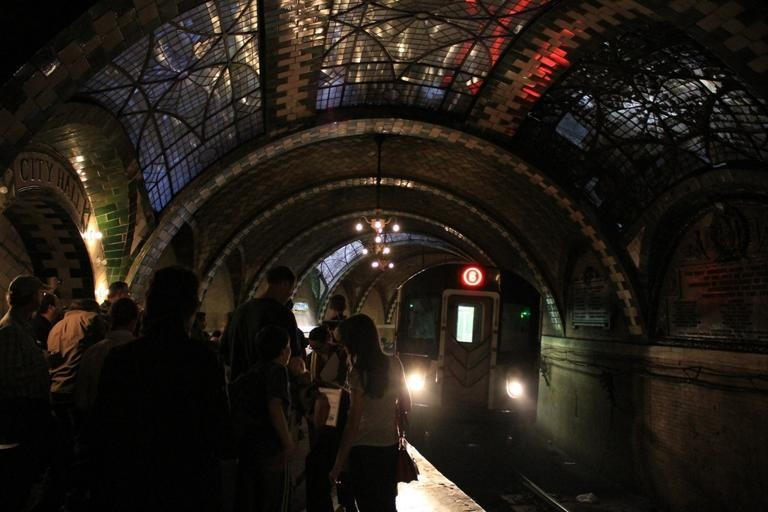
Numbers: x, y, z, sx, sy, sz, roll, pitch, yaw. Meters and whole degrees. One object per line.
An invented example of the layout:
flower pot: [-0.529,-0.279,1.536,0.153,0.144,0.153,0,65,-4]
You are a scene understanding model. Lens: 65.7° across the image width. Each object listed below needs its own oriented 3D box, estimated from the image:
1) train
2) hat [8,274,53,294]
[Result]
train: [1.057,2.152,14.821,3.369,3.694,5.901,6,-6,-15]
hat: [-4.511,0.350,7.499,0.463,0.215,0.294,-5,9,-35]
